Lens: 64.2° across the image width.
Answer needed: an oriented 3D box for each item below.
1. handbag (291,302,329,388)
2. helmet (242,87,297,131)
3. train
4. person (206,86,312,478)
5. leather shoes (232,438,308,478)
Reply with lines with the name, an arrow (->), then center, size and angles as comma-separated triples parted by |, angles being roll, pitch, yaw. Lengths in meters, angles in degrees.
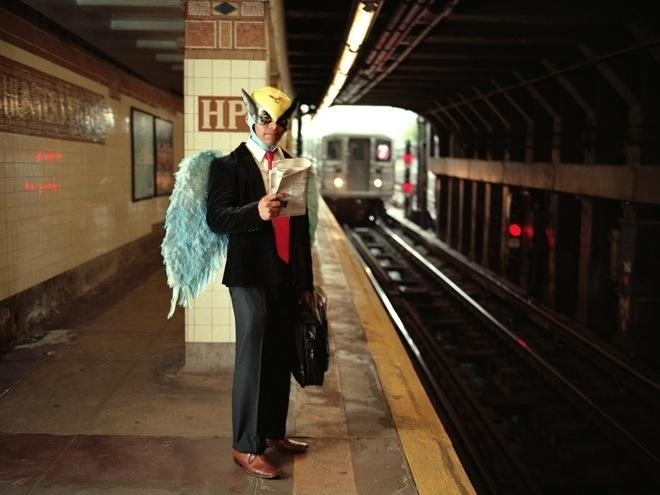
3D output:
handbag -> -0.167, 0.675, 3.749 | 0.245, 0.546, 0.553 | 0, 15, -2
helmet -> -0.410, -0.960, 3.640 | 0.389, 0.285, 0.275 | -3, 30, -22
train -> 1.669, -4.225, 27.619 | 3.629, 4.210, 8.113 | 1, 17, 5
person -> -0.510, 0.228, 3.721 | 0.692, 2.660, 0.656 | 7, 10, 32
leather shoes -> -0.504, 1.500, 3.684 | 0.247, 0.094, 0.292 | -2, 2, 18
